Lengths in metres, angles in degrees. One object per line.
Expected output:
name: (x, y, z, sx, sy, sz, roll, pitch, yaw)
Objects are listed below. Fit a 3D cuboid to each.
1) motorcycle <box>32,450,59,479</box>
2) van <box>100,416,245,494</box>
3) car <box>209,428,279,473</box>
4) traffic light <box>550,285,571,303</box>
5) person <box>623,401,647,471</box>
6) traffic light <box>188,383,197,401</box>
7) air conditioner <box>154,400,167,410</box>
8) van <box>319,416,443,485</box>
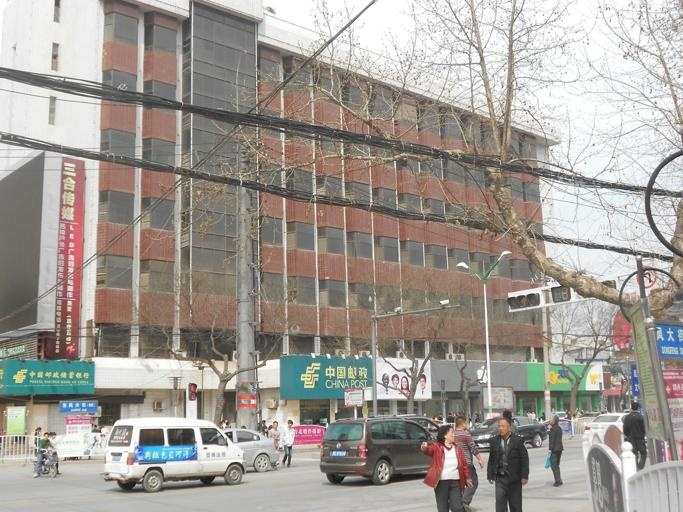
motorcycle: (-12.110, 8.512, 32.731, 1.242, 1.134, 0.706, -15, -19, 37)
van: (-5.933, 6.946, 27.850, 4.473, 2.263, 2.462, 4, -11, -35)
car: (-3.832, 7.841, 31.850, 2.640, 1.276, 1.451, 13, -19, -29)
traffic light: (7.232, 1.255, 26.342, 0.389, 0.677, 0.756, 9, -12, -32)
person: (8.875, 5.411, 24.190, 0.599, 1.962, 1.265, -8, -16, 19)
traffic light: (-8.049, 7.234, 42.649, 0.336, 0.861, 0.685, 3, -16, -19)
air conditioner: (-11.937, 9.702, 52.004, 0.828, 0.843, 0.583, 5, -15, -27)
van: (1.452, 6.551, 27.548, 3.527, 1.549, 2.100, 5, -11, -42)
